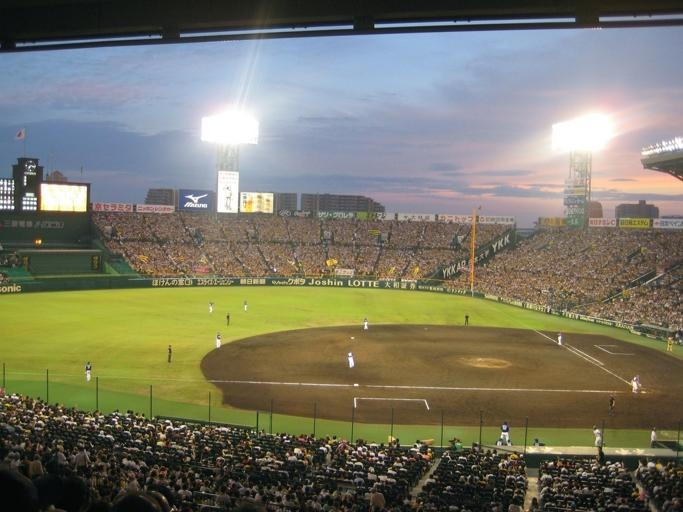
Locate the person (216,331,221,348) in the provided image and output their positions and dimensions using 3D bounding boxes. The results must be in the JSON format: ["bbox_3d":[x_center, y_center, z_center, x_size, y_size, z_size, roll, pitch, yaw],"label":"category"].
[{"bbox_3d":[-9.639,6.645,87.430,0.362,0.483,1.113,-1,-20,-12],"label":"person"}]
